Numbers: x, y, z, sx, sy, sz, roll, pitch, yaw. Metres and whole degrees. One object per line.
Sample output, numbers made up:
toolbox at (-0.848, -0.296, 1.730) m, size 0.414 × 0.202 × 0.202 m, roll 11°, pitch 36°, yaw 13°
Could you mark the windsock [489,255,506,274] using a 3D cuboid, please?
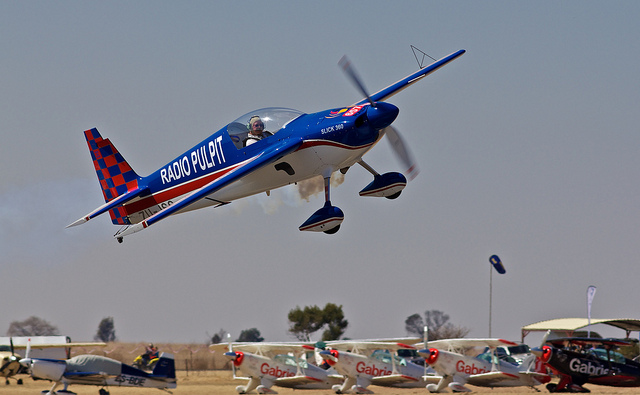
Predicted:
windsock at (12.406, 4.691, 65.934) m, size 0.851 × 1.592 × 3.668 m, roll -2°, pitch -15°, yaw 9°
